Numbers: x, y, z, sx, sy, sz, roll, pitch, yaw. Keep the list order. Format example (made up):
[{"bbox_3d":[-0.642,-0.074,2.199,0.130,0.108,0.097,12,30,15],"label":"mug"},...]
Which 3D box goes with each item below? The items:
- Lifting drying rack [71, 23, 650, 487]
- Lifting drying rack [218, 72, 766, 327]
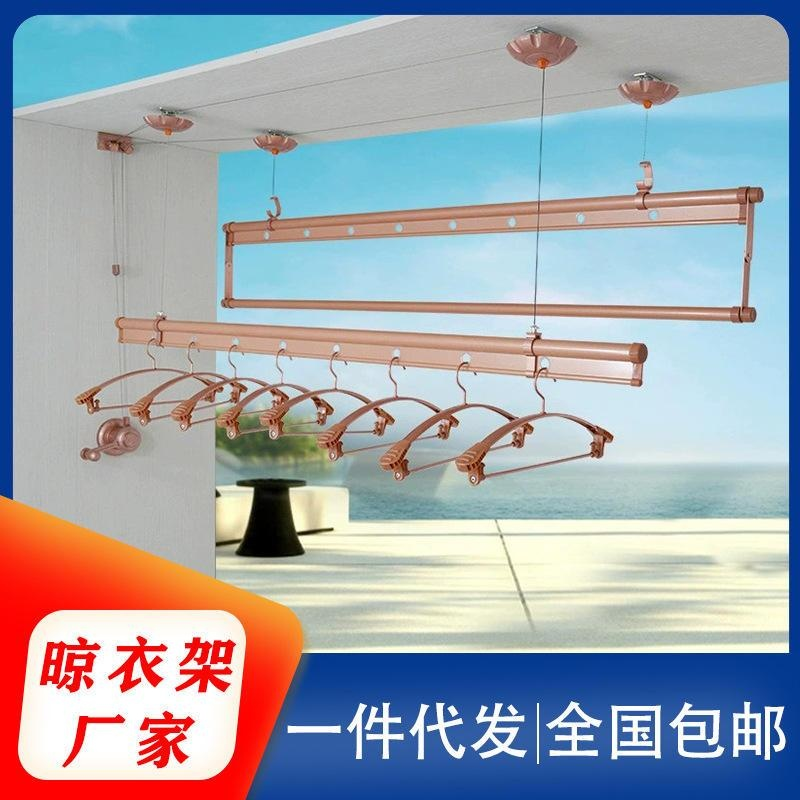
[{"bbox_3d":[-0.285,-0.494,3.713,1.212,1.305,2.896,-6,9,-41],"label":"Lifting drying rack"},{"bbox_3d":[0.238,-0.800,4.289,0.361,0.775,3.136,-2,8,-36],"label":"Lifting drying rack"}]
